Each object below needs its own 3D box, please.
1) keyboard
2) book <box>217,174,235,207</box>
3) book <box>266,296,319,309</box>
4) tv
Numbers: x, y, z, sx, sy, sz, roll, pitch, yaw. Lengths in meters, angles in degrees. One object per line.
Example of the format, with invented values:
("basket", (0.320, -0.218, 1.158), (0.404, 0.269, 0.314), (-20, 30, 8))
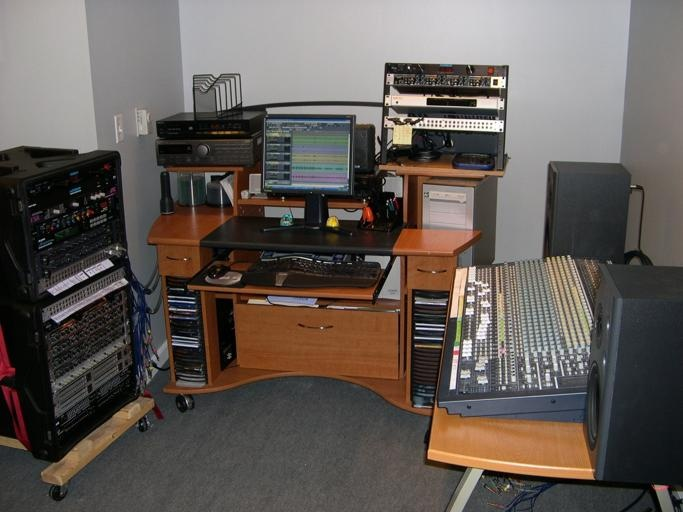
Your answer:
("keyboard", (-0.159, 0.092, 2.914), (0.731, 0.097, 0.245), (0, 20, 4))
("book", (-0.699, -0.401, 3.407), (0.032, 0.176, 0.158), (-14, -1, -42))
("book", (-0.272, 0.247, 3.066), (0.280, 0.053, 0.059), (2, 19, 8))
("tv", (-0.181, -0.459, 3.073), (0.600, 0.755, 0.288), (2, 12, 7))
